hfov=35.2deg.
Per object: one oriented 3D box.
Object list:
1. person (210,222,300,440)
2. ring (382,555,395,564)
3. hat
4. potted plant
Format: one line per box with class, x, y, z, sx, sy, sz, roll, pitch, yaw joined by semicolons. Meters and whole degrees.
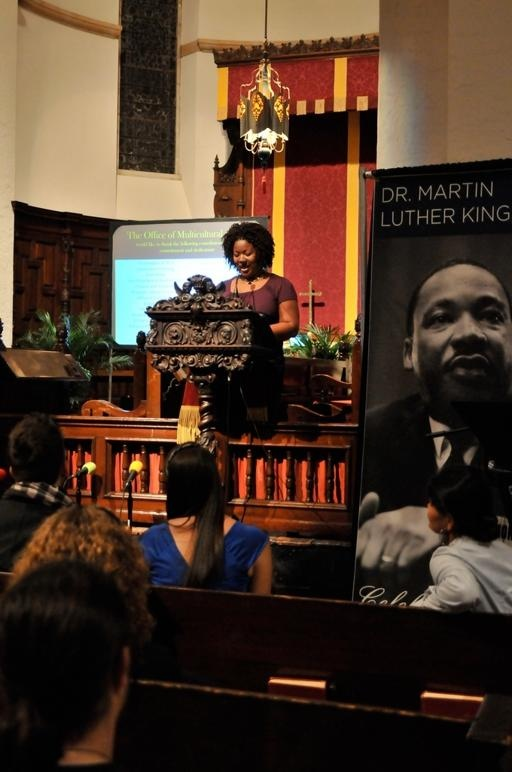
person;0.021;-0.332;4.250;0.425;1.181;0.811;2;1;-2
ring;0.490;0.646;3.022;0.031;0.022;0.030;1;-8;0
hat;0.696;0.424;2.955;0.233;0.284;0.307;3;-21;-1
potted plant;0.703;-0.296;8.879;0.796;0.826;0.769;0;-3;-34
